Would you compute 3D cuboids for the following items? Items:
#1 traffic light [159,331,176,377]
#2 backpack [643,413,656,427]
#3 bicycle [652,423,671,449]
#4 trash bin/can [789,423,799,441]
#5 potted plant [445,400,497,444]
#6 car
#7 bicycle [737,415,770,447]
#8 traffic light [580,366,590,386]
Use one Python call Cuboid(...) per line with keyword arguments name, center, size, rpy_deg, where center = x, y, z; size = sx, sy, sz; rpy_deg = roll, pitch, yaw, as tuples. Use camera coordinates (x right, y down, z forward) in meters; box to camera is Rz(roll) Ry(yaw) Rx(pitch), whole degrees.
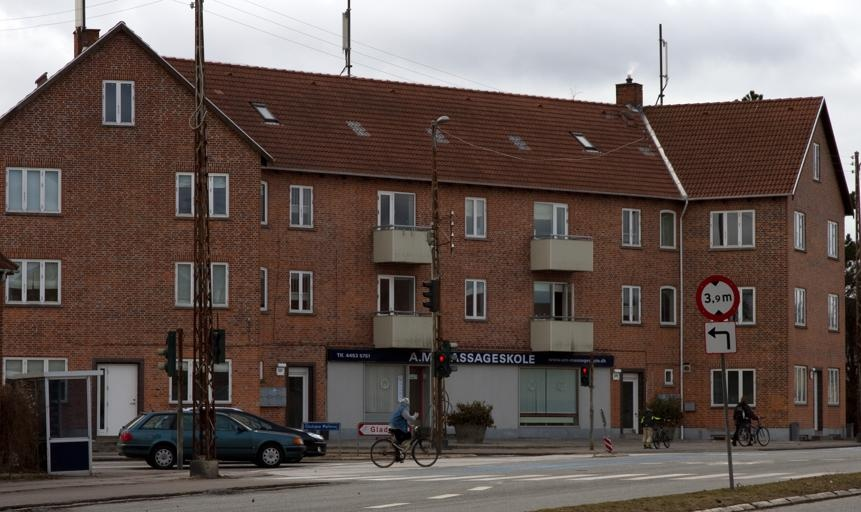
Cuboid(name="traffic light", center=(-10.497, 3.890, 69.461), size=(0.527, 1.808, 1.105), rpy_deg=(4, 0, -4))
Cuboid(name="backpack", center=(10.931, 8.206, 86.426), size=(0.693, 0.719, 0.379), rpy_deg=(1, 0, 5))
Cuboid(name="bicycle", center=(11.214, 8.848, 83.963), size=(0.705, 0.882, 1.485), rpy_deg=(-6, -14, 24))
Cuboid(name="trash bin/can", center=(18.748, 8.997, 89.071), size=(0.488, 0.920, 0.384), rpy_deg=(4, 0, -8))
Cuboid(name="potted plant", center=(2.053, 8.292, 85.367), size=(2.241, 2.004, 1.886), rpy_deg=(-1, -14, 8))
Cuboid(name="car", center=(-8.919, 7.583, 71.412), size=(7.764, 2.405, 1.893), rpy_deg=(4, 0, -12))
Cuboid(name="bicycle", center=(16.058, 8.795, 85.771), size=(1.078, 1.332, 2.226), rpy_deg=(-11, -14, 36))
Cuboid(name="traffic light", center=(7.449, 5.757, 82.928), size=(0.422, 0.940, 1.006), rpy_deg=(4, 0, 1))
